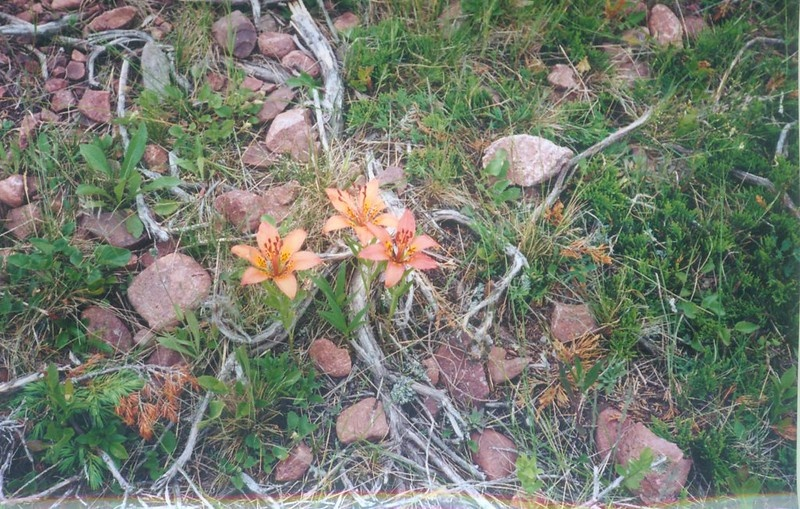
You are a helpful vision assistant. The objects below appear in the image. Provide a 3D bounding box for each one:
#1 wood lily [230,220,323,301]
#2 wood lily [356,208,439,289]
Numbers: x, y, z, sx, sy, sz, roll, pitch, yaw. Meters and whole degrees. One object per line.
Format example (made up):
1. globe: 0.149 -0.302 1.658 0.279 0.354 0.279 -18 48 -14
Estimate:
1. wood lily: -0.629 0.070 3.709 0.442 0.248 0.498 19 18 34
2. wood lily: -0.021 -0.023 3.735 0.342 0.158 0.288 -12 22 -41
